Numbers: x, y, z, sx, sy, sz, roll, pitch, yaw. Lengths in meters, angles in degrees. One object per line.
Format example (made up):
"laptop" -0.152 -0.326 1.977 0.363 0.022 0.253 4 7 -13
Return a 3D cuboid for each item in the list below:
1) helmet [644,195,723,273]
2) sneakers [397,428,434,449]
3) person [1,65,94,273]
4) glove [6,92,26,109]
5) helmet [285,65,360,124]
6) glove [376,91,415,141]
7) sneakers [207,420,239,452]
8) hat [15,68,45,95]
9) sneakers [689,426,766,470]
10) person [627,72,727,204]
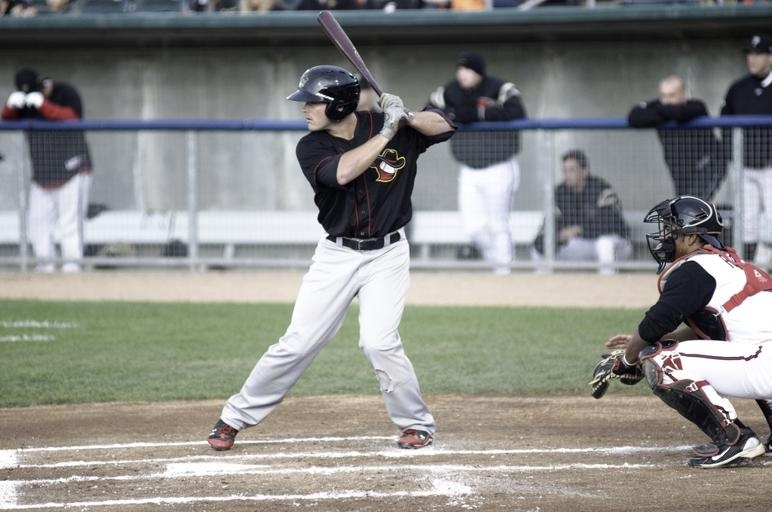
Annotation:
"helmet" 2.222 -0.190 13.502 0.677 0.532 0.498 7 5 18
"sneakers" 0.235 1.418 13.401 0.277 0.110 0.118 -1 8 6
"person" -2.679 -0.684 14.247 0.666 1.649 0.208 -3 5 -11
"glove" -2.946 -1.254 14.202 0.129 0.143 0.062 3 11 -14
"helmet" -0.482 -1.231 13.354 0.551 0.353 0.385 0 8 -6
"glove" 0.054 -1.032 13.269 0.101 0.311 0.349 11 4 43
"sneakers" -1.228 1.388 13.470 0.126 0.145 0.345 41 0 -16
"hat" -2.825 -1.415 14.230 0.229 0.201 0.172 -4 26 -6
"sneakers" 2.566 1.467 13.205 0.687 0.277 0.225 -11 8 -4
"person" 2.403 -0.966 14.607 0.778 1.036 0.368 -1 5 10
